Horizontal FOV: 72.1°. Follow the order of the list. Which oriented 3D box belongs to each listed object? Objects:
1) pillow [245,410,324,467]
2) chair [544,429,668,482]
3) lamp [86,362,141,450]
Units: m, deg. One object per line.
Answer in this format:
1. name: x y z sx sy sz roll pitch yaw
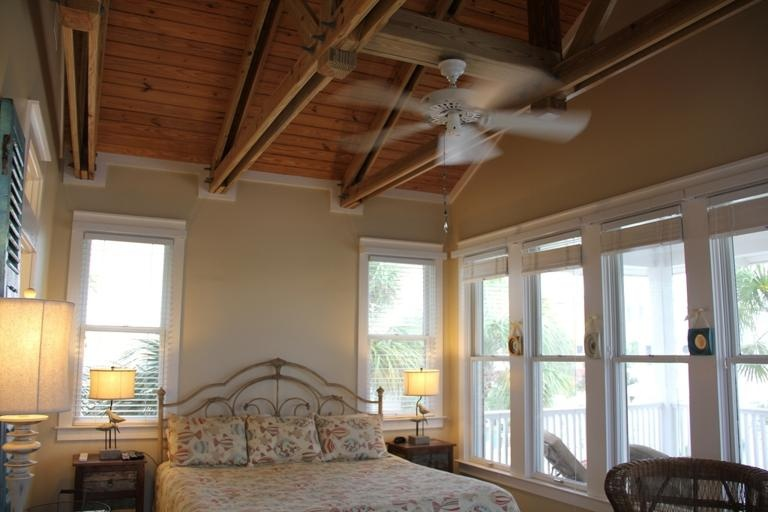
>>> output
1. pillow: -1.047 1.879 5.427 0.752 0.424 0.219 2 -23 -15
2. chair: 2.043 1.975 5.250 1.288 0.437 0.371 -9 -4 -7
3. lamp: -2.707 1.528 5.273 0.412 0.818 0.499 2 -11 -25
